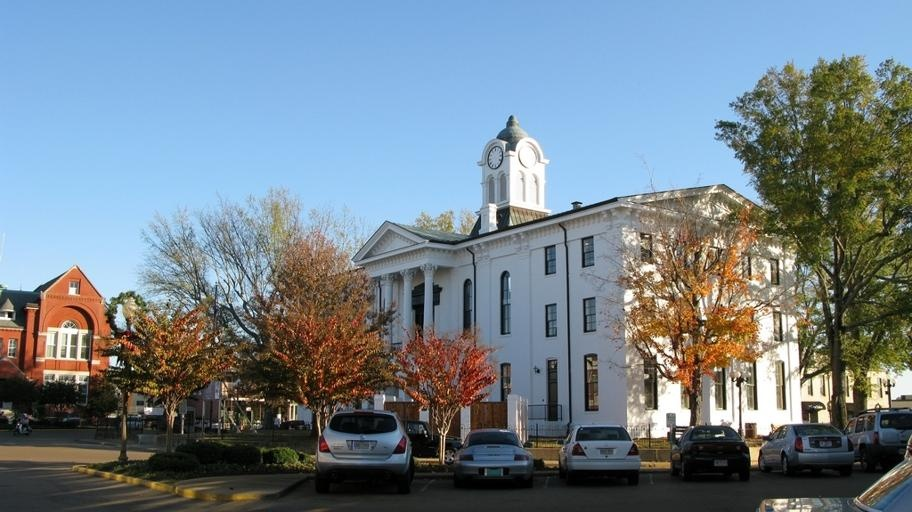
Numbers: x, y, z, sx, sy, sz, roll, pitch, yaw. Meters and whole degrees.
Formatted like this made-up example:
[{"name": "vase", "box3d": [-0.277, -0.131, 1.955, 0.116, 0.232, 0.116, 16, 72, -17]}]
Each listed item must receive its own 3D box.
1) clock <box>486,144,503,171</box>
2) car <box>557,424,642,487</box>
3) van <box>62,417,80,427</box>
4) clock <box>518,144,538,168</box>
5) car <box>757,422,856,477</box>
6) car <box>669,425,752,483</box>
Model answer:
[{"name": "clock", "box3d": [3.364, -8.512, 80.552, 1.780, 2.137, 0.330, -11, -17, 36]}, {"name": "car", "box3d": [7.547, 10.188, 50.147, 3.769, 2.414, 7.792, -1, -6, 0]}, {"name": "van", "box3d": [-38.183, 16.379, 92.461, 1.263, 0.929, 2.617, 12, -19, -43]}, {"name": "clock", "box3d": [6.213, -8.563, 80.081, 1.908, 2.069, 0.340, 7, -16, -32]}, {"name": "car", "box3d": [18.687, 10.282, 49.996, 3.118, 2.581, 7.117, -1, -7, 8]}, {"name": "car", "box3d": [14.031, 10.378, 51.396, 3.755, 2.478, 7.741, -2, -5, 5]}]
